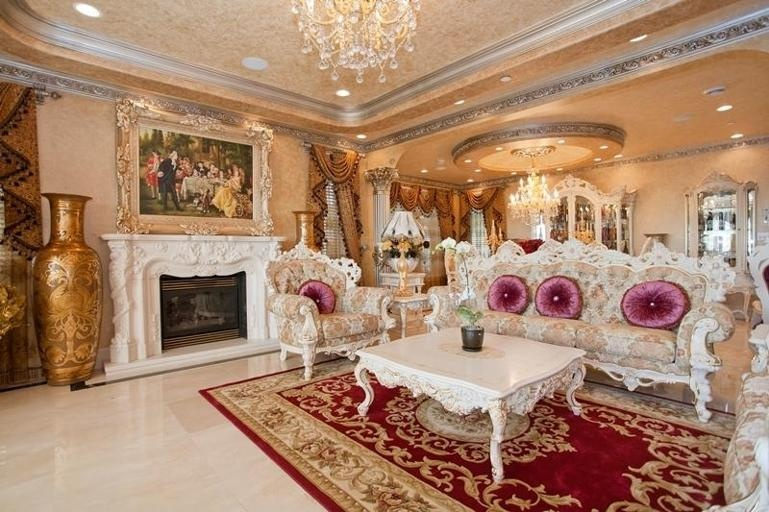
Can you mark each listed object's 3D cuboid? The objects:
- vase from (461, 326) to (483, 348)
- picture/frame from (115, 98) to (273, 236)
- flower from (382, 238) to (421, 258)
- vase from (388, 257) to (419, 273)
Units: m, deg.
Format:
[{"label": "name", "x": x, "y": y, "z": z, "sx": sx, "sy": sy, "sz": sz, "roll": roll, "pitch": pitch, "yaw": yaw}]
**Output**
[{"label": "vase", "x": 0.900, "y": 0.882, "z": 5.029, "sx": 0.265, "sy": 0.186, "sz": 0.250, "roll": 1, "pitch": -6, "yaw": -6}, {"label": "picture/frame", "x": -2.965, "y": -1.354, "z": 7.041, "sx": 2.737, "sy": 1.774, "sz": 0.185, "roll": 1, "pitch": -4, "yaw": -38}, {"label": "flower", "x": 0.255, "y": -0.125, "z": 7.623, "sx": 0.436, "sy": 0.246, "sz": 0.405, "roll": 2, "pitch": 3, "yaw": 25}, {"label": "vase", "x": 0.314, "y": 0.134, "z": 7.777, "sx": 0.387, "sy": 0.163, "sz": 0.341, "roll": -1, "pitch": -1, "yaw": -13}]
